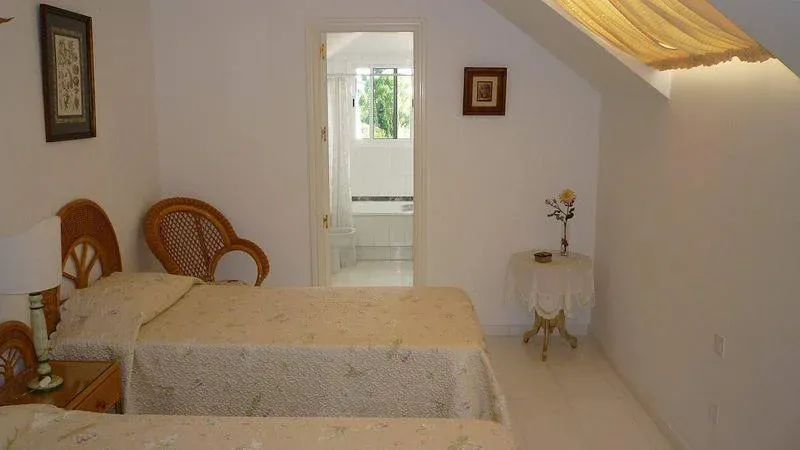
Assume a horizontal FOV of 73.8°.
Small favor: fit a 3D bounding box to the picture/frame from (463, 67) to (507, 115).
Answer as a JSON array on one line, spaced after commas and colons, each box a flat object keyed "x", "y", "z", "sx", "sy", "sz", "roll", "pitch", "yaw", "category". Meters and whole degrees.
[{"x": 0.863, "y": -1.395, "z": 5.463, "sx": 0.509, "sy": 0.473, "sz": 0.049, "roll": 0, "pitch": 7, "yaw": -5, "category": "picture/frame"}]

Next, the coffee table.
[{"x": 1.513, "y": 0.769, "z": 5.726, "sx": 1.082, "sy": 0.914, "sz": 1.064, "roll": 0, "pitch": 15, "yaw": 7, "category": "coffee table"}]

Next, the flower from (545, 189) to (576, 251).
[{"x": 1.647, "y": -0.053, "z": 5.563, "sx": 0.318, "sy": 0.671, "sz": 0.370, "roll": 5, "pitch": 13, "yaw": 17, "category": "flower"}]

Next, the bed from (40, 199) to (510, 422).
[{"x": -0.881, "y": 0.826, "z": 4.295, "sx": 2.779, "sy": 1.121, "sz": 1.857, "roll": -1, "pitch": 18, "yaw": -4, "category": "bed"}]
